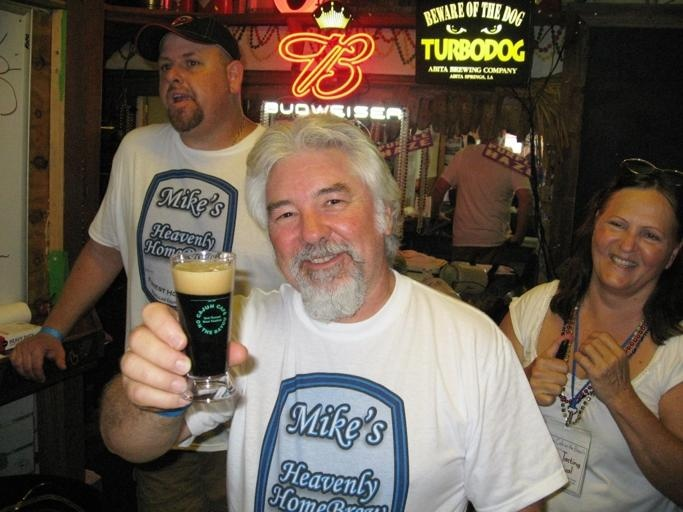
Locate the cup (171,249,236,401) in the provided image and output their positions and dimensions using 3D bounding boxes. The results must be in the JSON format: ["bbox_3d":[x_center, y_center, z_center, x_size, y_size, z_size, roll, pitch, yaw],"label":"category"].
[{"bbox_3d":[-0.509,0.256,2.123,0.226,0.518,0.221,3,12,-1],"label":"cup"}]

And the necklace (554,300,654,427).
[{"bbox_3d":[1.368,0.602,3.065,0.148,0.617,0.373,37,-17,-36],"label":"necklace"}]
